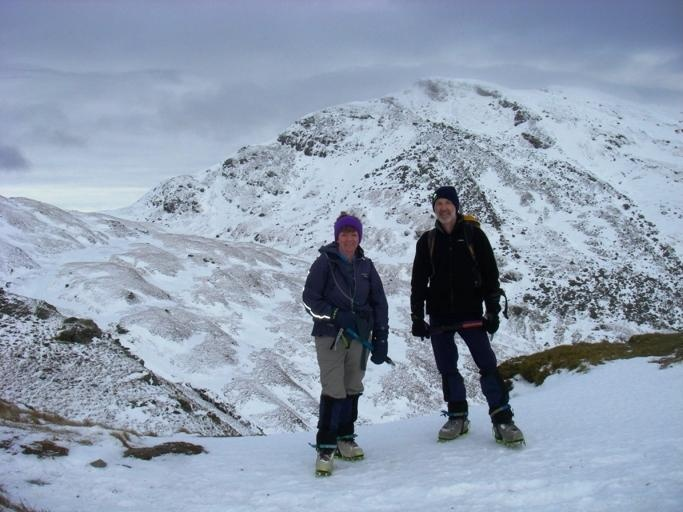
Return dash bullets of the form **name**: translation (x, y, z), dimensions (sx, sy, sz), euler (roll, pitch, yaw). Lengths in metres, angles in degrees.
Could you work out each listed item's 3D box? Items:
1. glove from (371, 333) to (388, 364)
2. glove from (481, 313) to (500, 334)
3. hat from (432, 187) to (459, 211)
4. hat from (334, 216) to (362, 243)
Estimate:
- **glove**: translation (1.414, 3.458, 26.031), dimensions (0.889, 0.964, 0.374), euler (4, 23, -4)
- **glove**: translation (5.426, 2.488, 25.982), dimensions (0.653, 0.710, 0.811), euler (2, 3, 4)
- **hat**: translation (3.844, -2.198, 26.157), dimensions (0.956, 0.825, 0.947), euler (9, -13, 14)
- **hat**: translation (0.291, -1.072, 26.338), dimensions (0.997, 0.753, 0.999), euler (2, -19, -2)
